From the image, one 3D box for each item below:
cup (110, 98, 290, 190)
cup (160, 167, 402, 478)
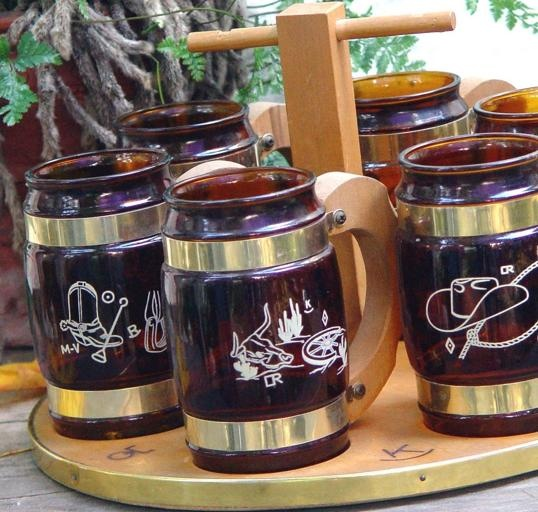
[{"bbox_3d":[-0.063,-0.109,0.606,0.167,0.084,0.089,-9,14,-27],"label":"cup"},{"bbox_3d":[0.014,0.035,0.450,0.149,0.211,0.153,-11,11,2],"label":"cup"}]
